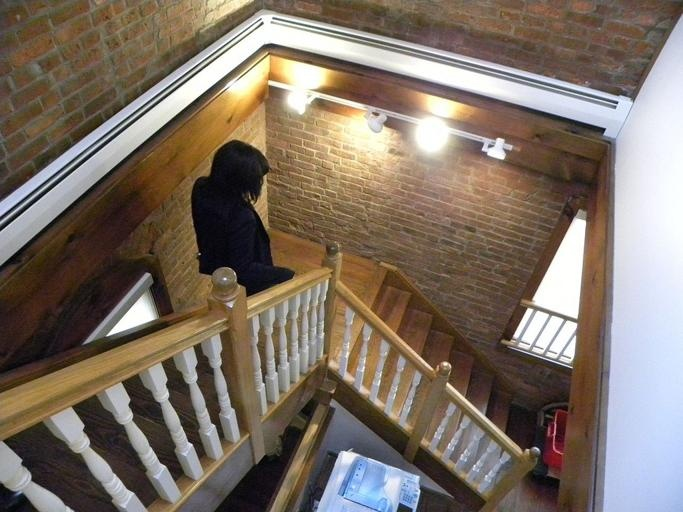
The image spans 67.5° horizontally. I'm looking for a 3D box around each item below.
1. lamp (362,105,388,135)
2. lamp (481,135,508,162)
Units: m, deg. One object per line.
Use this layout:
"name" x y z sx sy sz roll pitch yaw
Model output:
"lamp" 0.272 -1.148 4.261 0.186 0.195 0.123 21 -37 11
"lamp" 1.222 -0.830 4.093 0.193 0.197 0.065 27 -33 34
